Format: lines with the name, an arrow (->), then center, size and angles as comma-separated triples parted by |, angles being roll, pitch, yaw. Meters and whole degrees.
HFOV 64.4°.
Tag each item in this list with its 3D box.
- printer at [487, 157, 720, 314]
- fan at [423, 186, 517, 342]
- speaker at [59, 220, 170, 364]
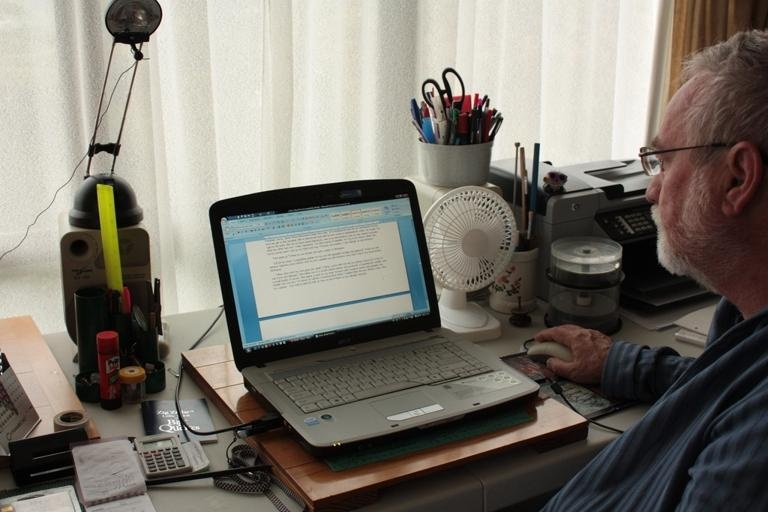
printer -> 0.595, -0.095, 1.723 | 0.411, 0.204, 0.533 | -12, 30, -20
fan -> 0.191, 0.015, 1.567 | 0.259, 0.351, 0.208 | 3, 1, -27
speaker -> -0.630, 0.103, 1.444 | 0.175, 0.329, 0.210 | 20, 29, 33
